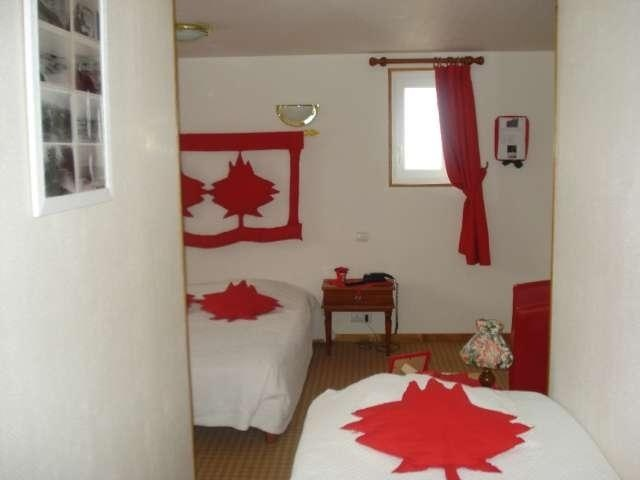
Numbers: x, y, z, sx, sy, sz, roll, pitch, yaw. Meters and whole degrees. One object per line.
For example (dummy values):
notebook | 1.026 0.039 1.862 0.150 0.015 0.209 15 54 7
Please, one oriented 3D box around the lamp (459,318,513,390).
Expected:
lamp | 0.887 0.606 2.730 0.254 0.375 0.259 11 18 41

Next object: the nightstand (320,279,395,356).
nightstand | 0.337 0.674 4.929 0.688 0.652 0.477 1 16 3

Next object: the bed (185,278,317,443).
bed | -0.537 0.823 3.863 0.957 0.821 1.372 0 8 -2

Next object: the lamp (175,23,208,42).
lamp | -0.962 -1.569 3.901 0.217 0.104 0.330 -2 8 -16

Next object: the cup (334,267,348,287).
cup | 0.197 0.339 4.825 0.133 0.148 0.137 -3 1 0
